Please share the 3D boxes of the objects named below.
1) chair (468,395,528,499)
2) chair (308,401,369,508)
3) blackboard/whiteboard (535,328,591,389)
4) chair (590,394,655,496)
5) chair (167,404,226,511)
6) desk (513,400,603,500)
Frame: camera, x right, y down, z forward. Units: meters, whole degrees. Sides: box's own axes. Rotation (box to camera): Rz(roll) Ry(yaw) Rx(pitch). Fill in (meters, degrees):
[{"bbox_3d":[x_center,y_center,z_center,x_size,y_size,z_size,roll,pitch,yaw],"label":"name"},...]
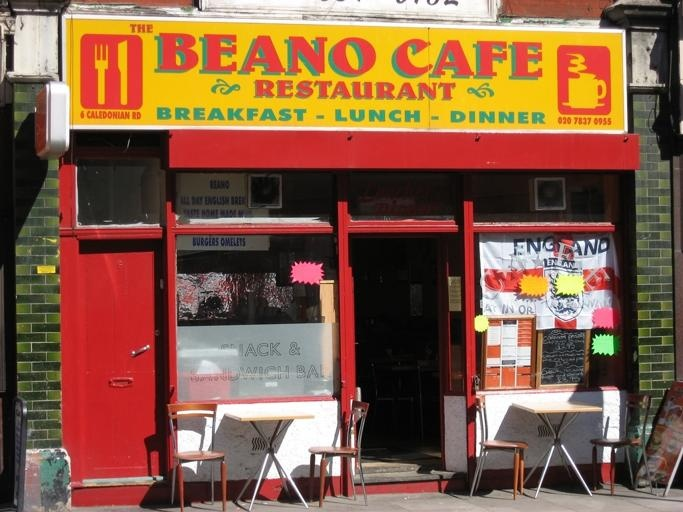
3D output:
[{"bbox_3d":[1.917,2.309,14.899,0.690,1.186,0.630,0,1,8],"label":"chair"},{"bbox_3d":[-0.032,2.337,14.763,0.701,1.178,0.906,0,1,-2],"label":"chair"},{"bbox_3d":[2.767,1.308,15.407,0.744,0.844,0.059,1,-2,-7],"label":"blackboard/whiteboard"},{"bbox_3d":[3.463,2.279,15.101,0.720,1.167,0.722,-1,-4,23],"label":"chair"},{"bbox_3d":[-1.687,2.359,14.342,0.700,1.212,0.672,0,1,-7],"label":"chair"},{"bbox_3d":[2.614,2.342,15.011,1.054,1.014,1.172,1,-1,27],"label":"desk"}]
